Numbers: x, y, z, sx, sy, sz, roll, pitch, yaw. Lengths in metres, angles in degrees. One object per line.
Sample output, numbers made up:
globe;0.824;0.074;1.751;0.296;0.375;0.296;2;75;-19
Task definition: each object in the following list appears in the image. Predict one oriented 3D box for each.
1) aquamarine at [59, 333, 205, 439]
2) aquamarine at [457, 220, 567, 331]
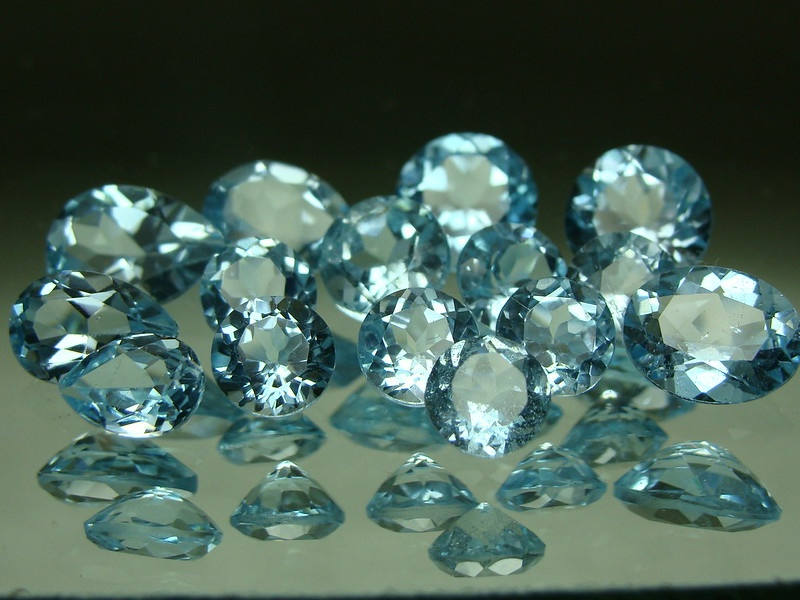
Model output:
aquamarine;-0.249;0.083;0.872;0.118;0.073;0.098;-6;-7;10
aquamarine;0.124;-0.033;1.024;0.120;0.118;0.058;17;-3;17
